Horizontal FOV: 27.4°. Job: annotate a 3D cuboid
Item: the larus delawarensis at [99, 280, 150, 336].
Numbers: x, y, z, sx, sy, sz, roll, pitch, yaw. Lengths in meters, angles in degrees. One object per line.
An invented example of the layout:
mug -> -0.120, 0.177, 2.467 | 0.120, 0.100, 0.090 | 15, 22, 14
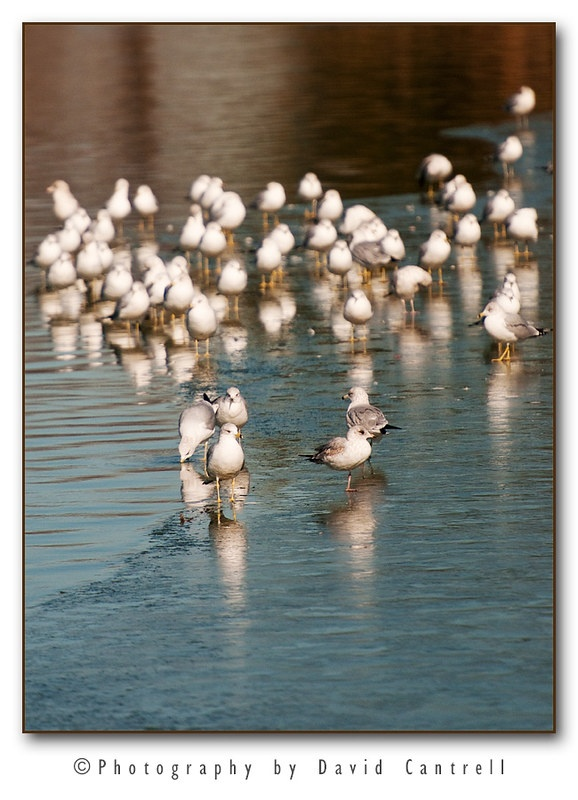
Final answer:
larus delawarensis -> -2.250, -1.288, 16.661 | 0.855, 0.581, 0.477 | -5, 4, 32

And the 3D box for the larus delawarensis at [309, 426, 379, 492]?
larus delawarensis -> 0.452, 0.498, 10.437 | 0.823, 0.584, 0.348 | 6, 7, 44

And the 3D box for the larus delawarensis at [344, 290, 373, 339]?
larus delawarensis -> 0.846, -1.066, 15.439 | 0.232, 0.336, 0.479 | -23, -29, 36

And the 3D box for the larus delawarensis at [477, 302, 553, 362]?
larus delawarensis -> 2.771, -0.856, 14.565 | 1.207, 0.706, 0.409 | -9, 9, -35
